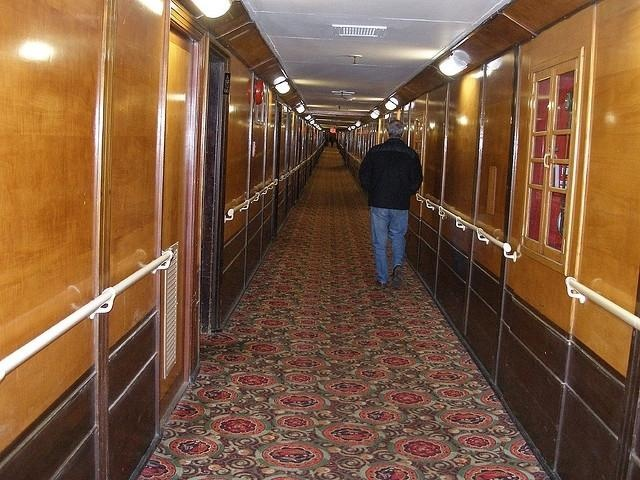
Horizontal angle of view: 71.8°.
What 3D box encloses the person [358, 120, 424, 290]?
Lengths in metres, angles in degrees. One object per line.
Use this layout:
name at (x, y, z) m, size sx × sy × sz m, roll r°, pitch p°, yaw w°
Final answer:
person at (1.090, -0.580, 6.994) m, size 0.974 × 2.589 × 0.445 m, roll 4°, pitch 9°, yaw 5°
